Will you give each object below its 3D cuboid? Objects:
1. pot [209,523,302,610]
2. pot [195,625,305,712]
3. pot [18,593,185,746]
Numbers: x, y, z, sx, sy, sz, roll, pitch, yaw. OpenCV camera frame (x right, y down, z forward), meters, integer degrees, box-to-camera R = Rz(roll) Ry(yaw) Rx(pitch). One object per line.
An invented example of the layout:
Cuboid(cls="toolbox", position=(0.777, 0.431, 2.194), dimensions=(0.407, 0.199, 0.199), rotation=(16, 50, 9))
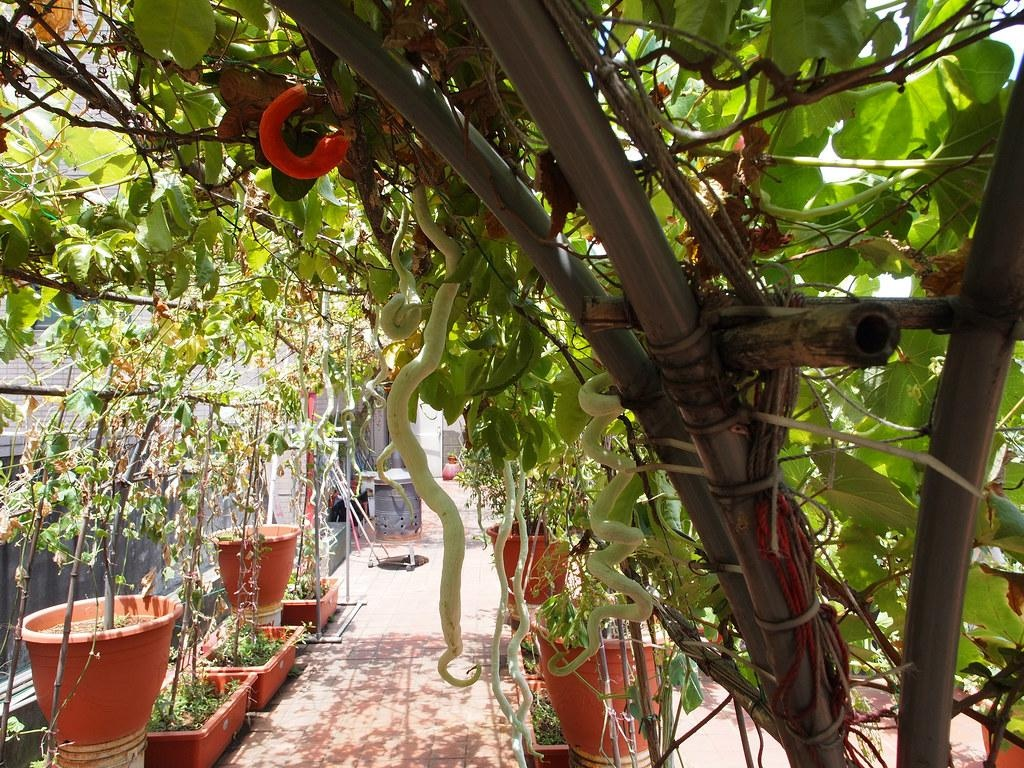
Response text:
Cuboid(cls="pot", position=(-1.807, 1.288, 5.014), dimensions=(0.662, 0.601, 0.693), rotation=(-1, -2, 0))
Cuboid(cls="pot", position=(-1.567, 1.708, 4.251), dimensions=(0.368, 0.189, 0.786), rotation=(0, -13, -4))
Cuboid(cls="pot", position=(-1.853, 1.302, 3.236), dimensions=(0.636, 0.512, 0.645), rotation=(-3, -5, 0))
